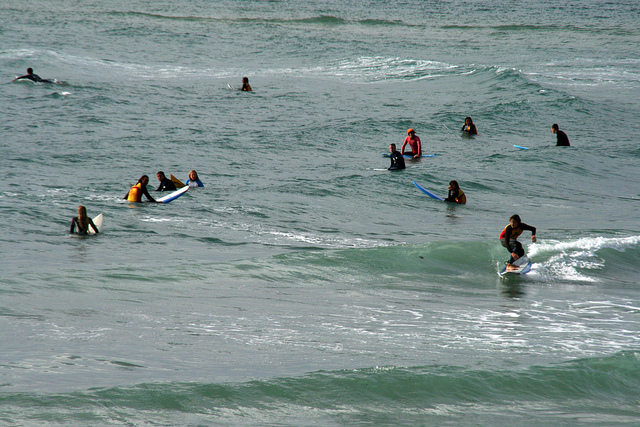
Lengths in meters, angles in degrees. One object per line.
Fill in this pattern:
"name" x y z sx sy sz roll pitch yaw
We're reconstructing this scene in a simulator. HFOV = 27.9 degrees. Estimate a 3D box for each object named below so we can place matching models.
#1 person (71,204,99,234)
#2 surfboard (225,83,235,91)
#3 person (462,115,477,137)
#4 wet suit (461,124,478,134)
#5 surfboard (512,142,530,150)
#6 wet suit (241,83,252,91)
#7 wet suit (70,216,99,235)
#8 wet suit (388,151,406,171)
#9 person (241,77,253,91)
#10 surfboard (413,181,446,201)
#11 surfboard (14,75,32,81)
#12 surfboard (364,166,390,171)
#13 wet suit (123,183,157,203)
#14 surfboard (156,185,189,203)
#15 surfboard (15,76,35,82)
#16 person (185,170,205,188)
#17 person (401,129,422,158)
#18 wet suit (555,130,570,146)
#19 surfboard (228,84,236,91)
"person" -13.285 0.393 72.082 1.494 1.556 0.627 1 8 -2
"surfboard" -6.875 -9.514 96.701 0.336 0.109 1.284 -15 29 -22
"person" 10.243 -5.927 88.453 0.993 1.326 1.110 1 7 0
"wet suit" 10.337 -5.724 88.645 1.315 0.649 0.662 2 -6 27
"surfboard" 13.452 -4.551 87.067 0.398 0.458 1.828 -35 -10 28
"wet suit" -5.430 -9.392 95.532 0.519 0.559 0.945 5 7 28
"wet suit" -13.553 0.742 72.199 1.639 0.905 0.938 -3 2 14
"wet suit" 4.509 -3.357 81.721 1.700 1.169 1.181 0 8 12
"person" -5.555 -9.658 96.068 0.789 1.003 2.116 1 6 -4
"surfboard" 6.588 -1.296 78.892 2.486 0.223 0.381 28 35 31
"surfboard" -21.294 -9.656 91.999 0.907 0.244 0.630 -5 5 24
"surfboard" 3.580 -2.833 81.388 1.504 0.234 0.866 2 5 14
"wet suit" -10.583 -1.215 75.790 2.412 1.015 1.351 8 7 28
"surfboard" -8.604 -1.094 76.001 2.680 0.487 0.287 -23 -18 -40
"surfboard" -21.307 -9.633 92.107 1.962 0.320 0.286 7 -8 10
"person" -7.625 -2.062 77.483 1.121 0.997 1.286 0 6 -6
"person" 5.858 -4.511 83.291 1.336 1.786 0.945 -6 11 -43
"wet suit" 16.307 -5.075 86.939 0.959 1.015 0.662 2 8 7
"surfboard" -6.747 -9.437 96.365 0.209 0.091 0.900 -33 42 -13
